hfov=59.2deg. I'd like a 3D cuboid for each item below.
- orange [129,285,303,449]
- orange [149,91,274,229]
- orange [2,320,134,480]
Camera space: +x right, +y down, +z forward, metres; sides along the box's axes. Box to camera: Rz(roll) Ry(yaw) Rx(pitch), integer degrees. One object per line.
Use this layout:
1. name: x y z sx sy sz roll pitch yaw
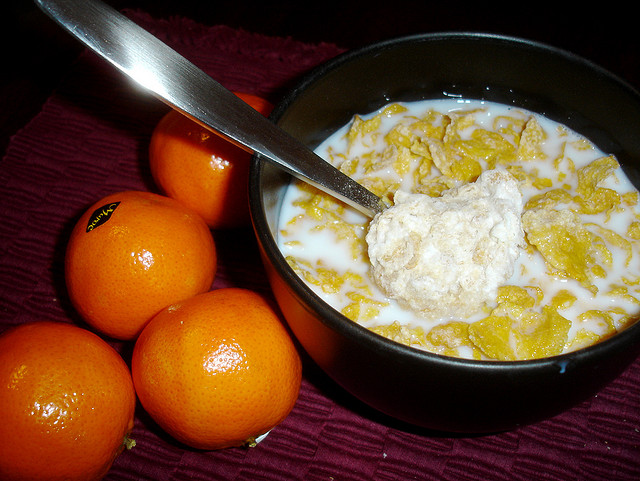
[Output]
1. orange: -0.134 0.207 0.893 0.243 0.182 0.229 16 45 30
2. orange: -0.210 -0.152 1.044 0.180 0.200 0.179 54 41 -5
3. orange: -0.364 0.225 0.788 0.168 0.084 0.204 5 73 3
